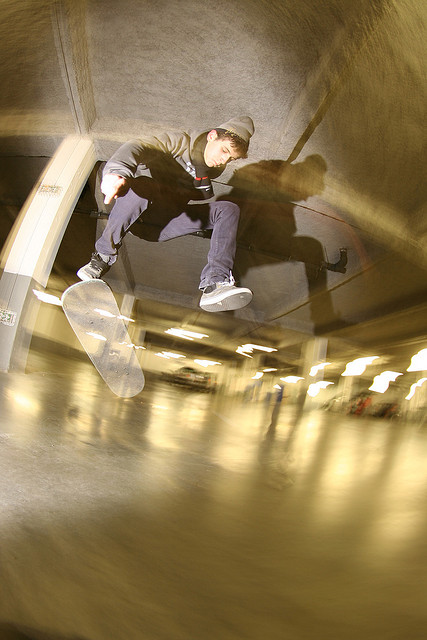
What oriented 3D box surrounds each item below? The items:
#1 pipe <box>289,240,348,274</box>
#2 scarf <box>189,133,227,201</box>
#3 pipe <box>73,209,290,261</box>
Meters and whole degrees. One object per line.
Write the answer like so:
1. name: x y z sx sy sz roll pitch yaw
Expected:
1. pipe: 0.180 -0.107 0.793 0.114 0.038 0.013 22 -17 15
2. scarf: -0.019 -0.246 0.734 0.028 0.085 0.069 4 -11 38
3. pipe: -0.041 -0.136 0.745 0.354 0.022 0.018 12 -4 -12
